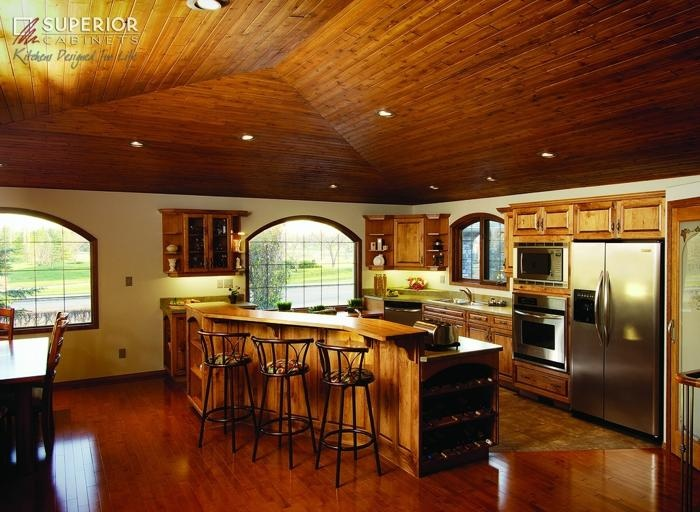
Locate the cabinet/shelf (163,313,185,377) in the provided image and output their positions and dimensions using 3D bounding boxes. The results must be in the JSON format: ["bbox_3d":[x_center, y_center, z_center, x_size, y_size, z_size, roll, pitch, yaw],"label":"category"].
[{"bbox_3d":[-2.603,1.300,6.991,0.276,0.987,0.579,-2,6,-23],"label":"cabinet/shelf"}]

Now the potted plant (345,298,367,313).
[{"bbox_3d":[0.131,0.918,8.530,0.340,0.239,0.251,2,-6,-32],"label":"potted plant"}]

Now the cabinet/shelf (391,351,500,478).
[{"bbox_3d":[0.993,1.457,4.513,0.988,1.099,0.260,-2,6,-24],"label":"cabinet/shelf"}]

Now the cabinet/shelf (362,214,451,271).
[{"bbox_3d":[1.088,-0.222,8.662,1.352,0.716,0.398,-1,-3,21],"label":"cabinet/shelf"}]

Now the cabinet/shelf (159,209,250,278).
[{"bbox_3d":[-2.320,-0.185,7.283,1.446,0.916,0.388,1,-2,-24],"label":"cabinet/shelf"}]

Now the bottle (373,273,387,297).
[{"bbox_3d":[0.577,0.543,8.941,0.266,0.410,0.334,1,5,3],"label":"bottle"}]

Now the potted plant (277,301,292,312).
[{"bbox_3d":[-1.008,0.796,7.205,0.190,0.111,0.187,-5,-7,31],"label":"potted plant"}]

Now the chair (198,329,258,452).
[{"bbox_3d":[-1.340,1.337,5.155,0.630,1.198,1.068,-1,5,-14],"label":"chair"}]

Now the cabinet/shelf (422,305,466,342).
[{"bbox_3d":[1.241,0.856,6.005,0.237,0.323,0.612,4,-5,-25],"label":"cabinet/shelf"}]

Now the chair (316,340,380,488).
[{"bbox_3d":[-0.009,1.394,4.523,0.644,1.230,1.046,0,5,-4],"label":"chair"}]

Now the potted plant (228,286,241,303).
[{"bbox_3d":[-1.888,0.658,7.692,0.324,0.305,0.240,0,-3,-14],"label":"potted plant"}]
